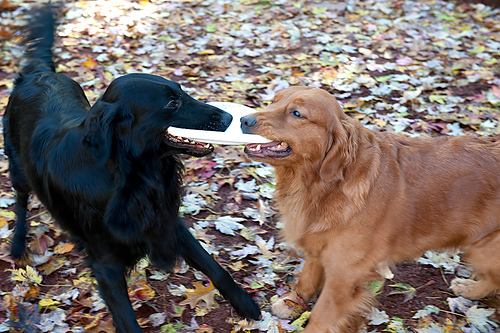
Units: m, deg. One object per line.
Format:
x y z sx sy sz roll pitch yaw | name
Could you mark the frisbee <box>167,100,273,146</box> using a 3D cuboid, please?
-0.356 -0.409 5.011 0.571 0.520 0.097 -1 61 -4 | frisbee
